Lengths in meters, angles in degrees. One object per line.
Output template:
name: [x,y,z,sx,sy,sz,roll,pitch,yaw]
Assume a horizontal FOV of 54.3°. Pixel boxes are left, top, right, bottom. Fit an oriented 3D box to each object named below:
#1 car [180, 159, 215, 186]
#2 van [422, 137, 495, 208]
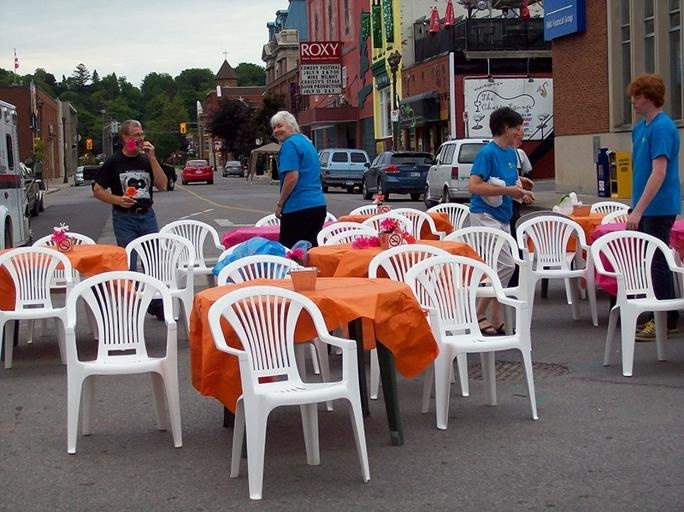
car: [-11.973,-7.028,55.796,2.248,1.958,1.678,-2,6,-3]
van: [4.122,-3.091,23.746,1.688,1.864,3.345,-1,11,-6]
